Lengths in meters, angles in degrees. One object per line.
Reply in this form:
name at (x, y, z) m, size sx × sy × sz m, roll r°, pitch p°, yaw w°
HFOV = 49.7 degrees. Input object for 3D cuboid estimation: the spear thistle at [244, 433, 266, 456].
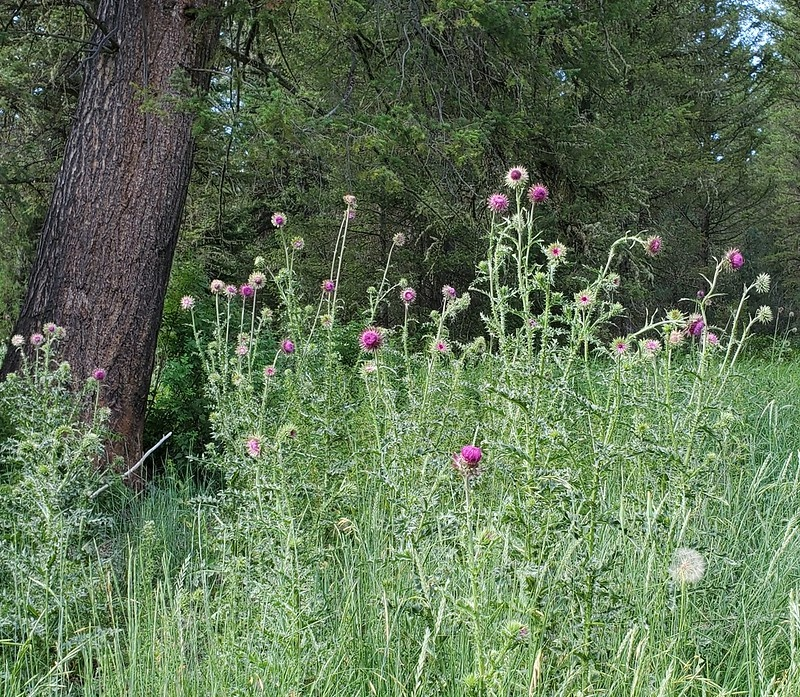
spear thistle at (-0.630, 0.404, 3.798) m, size 0.096 × 0.126 × 0.074 m, roll -1°, pitch 2°, yaw -14°

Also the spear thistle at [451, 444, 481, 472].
spear thistle at (0.235, 0.374, 3.010) m, size 0.095 × 0.107 × 0.220 m, roll 5°, pitch 5°, yaw 4°
